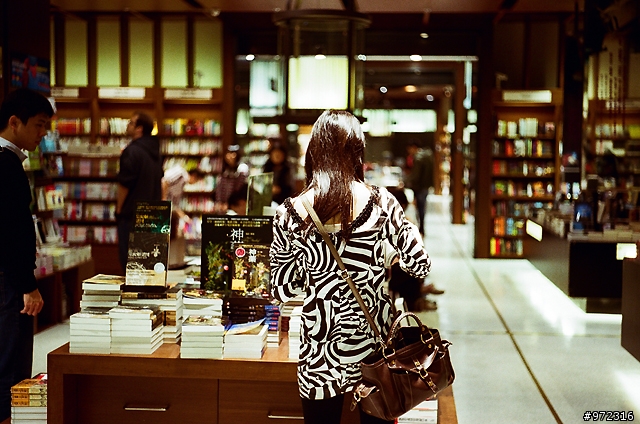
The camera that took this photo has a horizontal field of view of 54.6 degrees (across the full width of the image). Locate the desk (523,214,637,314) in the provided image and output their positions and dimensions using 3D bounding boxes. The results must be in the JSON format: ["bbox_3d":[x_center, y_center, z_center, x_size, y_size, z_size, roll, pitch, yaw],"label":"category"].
[{"bbox_3d":[2.197,0.410,5.172,0.421,0.634,1.075,6,11,-28],"label":"desk"}]

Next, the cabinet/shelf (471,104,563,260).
[{"bbox_3d":[1.772,-0.252,5.635,0.363,0.996,0.872,6,10,-25],"label":"cabinet/shelf"}]

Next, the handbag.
[{"bbox_3d":[0.346,0.630,3.387,0.872,0.632,0.285,12,9,3],"label":"handbag"}]

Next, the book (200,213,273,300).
[{"bbox_3d":[-0.564,0.330,4.429,0.531,0.559,0.507,2,-7,-5],"label":"book"}]
